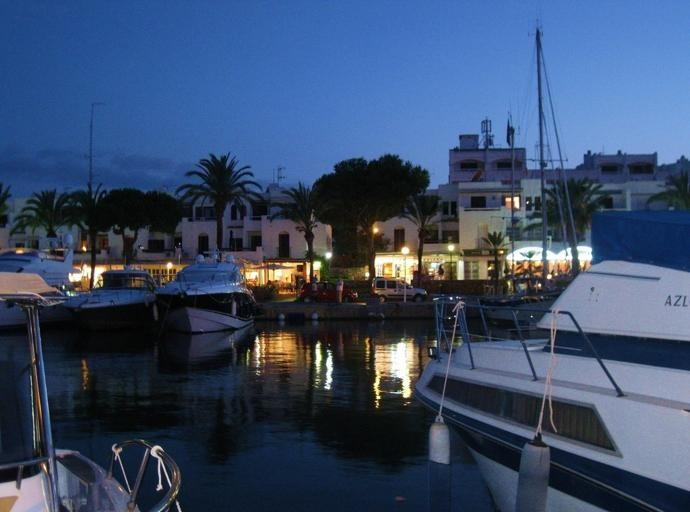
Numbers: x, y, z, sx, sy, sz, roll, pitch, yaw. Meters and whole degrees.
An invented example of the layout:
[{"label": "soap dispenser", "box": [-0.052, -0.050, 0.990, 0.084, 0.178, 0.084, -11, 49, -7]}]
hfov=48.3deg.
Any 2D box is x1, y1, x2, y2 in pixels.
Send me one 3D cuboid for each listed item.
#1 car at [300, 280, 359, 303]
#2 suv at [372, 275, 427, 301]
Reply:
[{"label": "car", "box": [-1.198, 2.235, 46.532, 3.250, 1.262, 1.618, -3, 0, -4]}, {"label": "suv", "box": [3.239, 2.137, 47.650, 2.445, 1.433, 1.555, -2, -1, 3]}]
